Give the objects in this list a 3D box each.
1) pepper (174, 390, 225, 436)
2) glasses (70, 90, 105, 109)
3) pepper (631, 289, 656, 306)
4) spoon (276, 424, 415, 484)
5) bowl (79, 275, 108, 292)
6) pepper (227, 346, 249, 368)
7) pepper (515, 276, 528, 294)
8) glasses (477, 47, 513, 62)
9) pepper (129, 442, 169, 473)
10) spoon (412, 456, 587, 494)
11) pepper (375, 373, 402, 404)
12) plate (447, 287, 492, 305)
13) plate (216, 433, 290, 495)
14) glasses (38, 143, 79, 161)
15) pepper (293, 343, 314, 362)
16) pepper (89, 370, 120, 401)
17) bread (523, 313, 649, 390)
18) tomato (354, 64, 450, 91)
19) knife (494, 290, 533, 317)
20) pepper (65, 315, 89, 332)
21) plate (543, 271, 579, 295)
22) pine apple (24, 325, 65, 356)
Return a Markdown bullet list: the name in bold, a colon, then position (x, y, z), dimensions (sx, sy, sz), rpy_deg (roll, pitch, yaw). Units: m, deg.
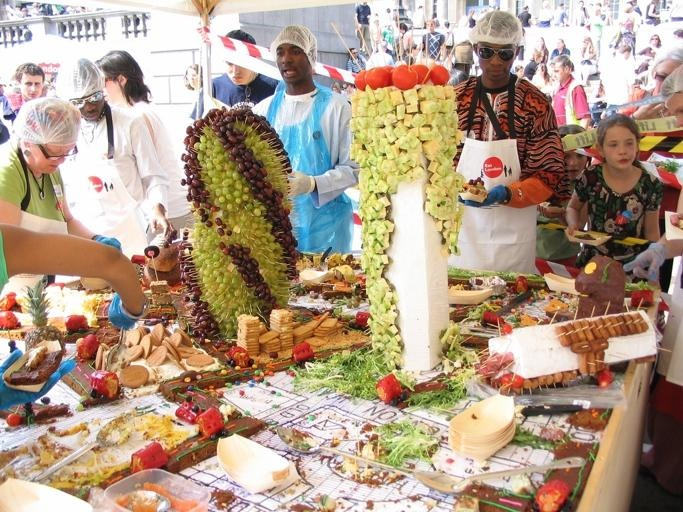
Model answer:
- **pepper**: position (-0.562, 0.652, 2.125), dimensions (0.201, 0.113, 0.168), rpy_deg (10, 16, 37)
- **glasses**: position (-2.165, -1.333, 4.344), dimensions (0.287, 0.145, 0.179), rpy_deg (-12, 16, -41)
- **pepper**: position (1.822, 0.255, 3.022), dimensions (0.098, 0.090, 0.122), rpy_deg (-7, -13, 41)
- **spoon**: position (-0.029, 0.756, 1.956), dimensions (0.631, 0.078, 0.110), rpy_deg (6, 14, 29)
- **bowl**: position (-1.522, 0.170, 3.113), dimensions (0.146, 0.112, 0.151), rpy_deg (8, 0, 0)
- **pepper**: position (-0.533, 0.521, 2.653), dimensions (0.110, 0.081, 0.148), rpy_deg (-11, 16, -40)
- **pepper**: position (1.225, 0.187, 3.390), dimensions (0.061, 0.057, 0.123), rpy_deg (-8, 47, 22)
- **glasses**: position (1.209, -1.564, 3.930), dimensions (0.268, 0.105, 0.094), rpy_deg (2, 12, 15)
- **pepper**: position (-0.724, 0.748, 1.918), dimensions (0.129, 0.112, 0.101), rpy_deg (-30, -9, -27)
- **spoon**: position (0.551, 0.770, 1.785), dimensions (0.609, 0.088, 0.123), rpy_deg (-12, -1, 18)
- **pepper**: position (0.222, 0.588, 2.337), dimensions (0.106, 0.113, 0.132), rpy_deg (-1, 12, 36)
- **plate**: position (0.825, 0.242, 3.186), dimensions (0.230, 0.084, 0.143), rpy_deg (2, 3, 11)
- **plate**: position (-0.337, 0.770, 1.872), dimensions (0.325, 0.109, 0.156), rpy_deg (6, 14, 30)
- **glasses**: position (-1.890, -0.698, 3.406), dimensions (0.143, 0.102, 0.242), rpy_deg (1, 12, 10)
- **pepper**: position (-0.204, 0.491, 2.665), dimensions (0.101, 0.086, 0.084), rpy_deg (-15, 18, -31)
- **pepper**: position (-1.086, 0.598, 2.378), dimensions (0.131, 0.132, 0.105), rpy_deg (17, 9, 36)
- **bread**: position (1.153, 0.459, 2.400), dimensions (0.559, 0.290, 0.188), rpy_deg (-10, -26, -1)
- **tomato**: position (0.294, -0.838, 2.389), dimensions (0.447, 0.135, 0.219), rpy_deg (-1, 12, 0)
- **knife**: position (1.088, 0.287, 3.148), dimensions (0.102, 0.030, 0.608), rpy_deg (20, 23, 32)
- **pepper**: position (-1.547, 0.391, 2.939), dimensions (0.104, 0.098, 0.077), rpy_deg (4, -4, -17)
- **plate**: position (1.483, 0.177, 3.403), dimensions (0.204, 0.086, 0.312), rpy_deg (4, 13, 21)
- **pine apple**: position (-1.464, 0.410, 2.490), dimensions (0.187, 0.116, 0.176), rpy_deg (9, 16, 40)
